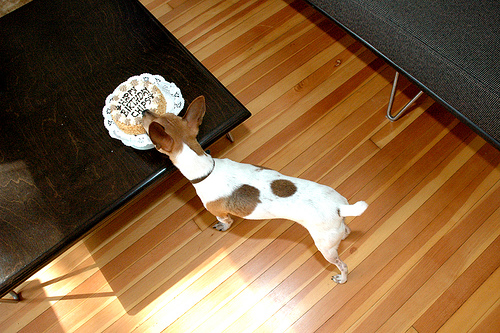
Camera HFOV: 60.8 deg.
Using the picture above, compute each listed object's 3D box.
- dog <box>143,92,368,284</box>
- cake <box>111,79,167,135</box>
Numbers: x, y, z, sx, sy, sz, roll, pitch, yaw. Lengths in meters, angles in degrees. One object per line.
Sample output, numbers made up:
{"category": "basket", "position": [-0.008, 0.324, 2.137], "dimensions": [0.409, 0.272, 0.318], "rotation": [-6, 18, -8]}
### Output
{"category": "dog", "position": [-0.008, 0.110, 2.603], "dimensions": [1.415, 0.996, 0.453], "rotation": [16, 57, 18]}
{"category": "cake", "position": [-0.682, -0.385, 2.524], "dimensions": [0.331, 0.081, 0.339], "rotation": [-7, 76, 6]}
